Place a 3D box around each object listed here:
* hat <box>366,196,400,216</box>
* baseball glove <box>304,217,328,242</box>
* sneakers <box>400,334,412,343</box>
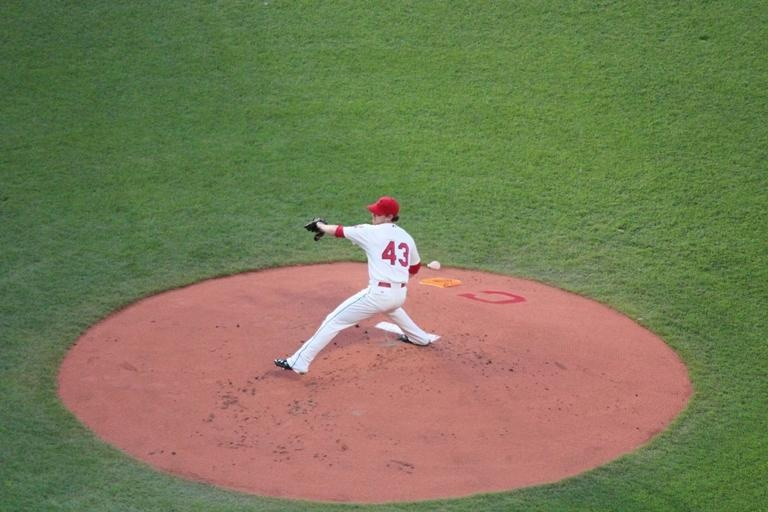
[{"bbox_3d":[-0.012,-0.921,23.627,0.541,0.250,0.335,4,39,-3],"label":"hat"},{"bbox_3d":[-1.285,-0.568,23.624,0.483,0.224,0.326,-43,121,-40],"label":"baseball glove"},{"bbox_3d":[0.409,1.560,24.251,0.223,0.086,0.089,40,109,31],"label":"sneakers"}]
